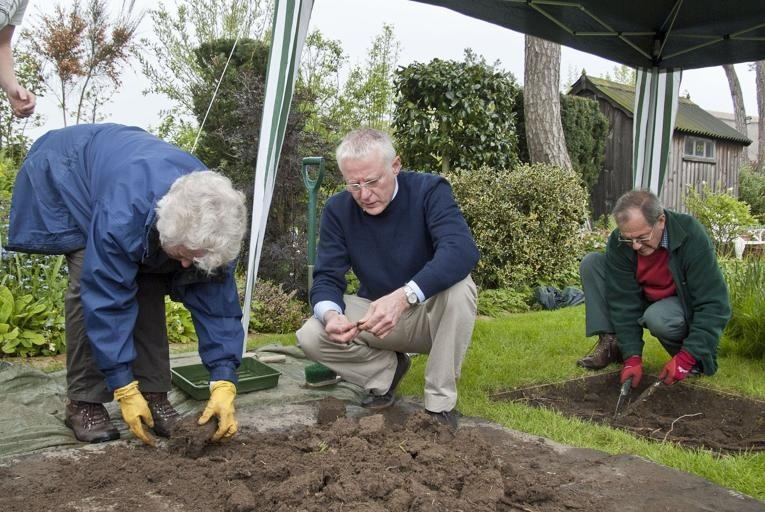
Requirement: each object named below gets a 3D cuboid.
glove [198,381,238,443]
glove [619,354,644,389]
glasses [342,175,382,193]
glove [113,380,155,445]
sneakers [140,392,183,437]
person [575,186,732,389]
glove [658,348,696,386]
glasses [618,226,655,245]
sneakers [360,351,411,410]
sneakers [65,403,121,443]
[{"bbox_3d":[-1.131,1.077,4.195,0.287,0.371,0.157,6,-3,-12],"label":"glove"},{"bbox_3d":[2.123,0.964,5.069,0.209,0.133,0.260,-17,29,45],"label":"glove"},{"bbox_3d":[-0.175,-0.519,4.388,0.301,0.142,0.129,9,16,31],"label":"glasses"},{"bbox_3d":[-1.672,1.075,4.074,0.196,0.479,0.175,7,15,24],"label":"glove"},{"bbox_3d":[-1.575,1.125,4.233,0.343,0.212,0.125,31,31,11],"label":"sneakers"},{"bbox_3d":[2.299,0.283,5.143,1.210,1.671,0.654,9,16,29],"label":"person"},{"bbox_3d":[2.409,0.912,4.935,0.328,0.287,0.109,-5,15,-24],"label":"glove"},{"bbox_3d":[2.102,-0.163,4.966,0.221,0.152,0.122,10,16,32],"label":"glasses"},{"bbox_3d":[0.065,1.032,4.938,0.252,0.598,0.213,42,-20,-30],"label":"sneakers"},{"bbox_3d":[-2.049,1.160,4.292,0.463,0.286,0.193,2,2,32],"label":"sneakers"}]
